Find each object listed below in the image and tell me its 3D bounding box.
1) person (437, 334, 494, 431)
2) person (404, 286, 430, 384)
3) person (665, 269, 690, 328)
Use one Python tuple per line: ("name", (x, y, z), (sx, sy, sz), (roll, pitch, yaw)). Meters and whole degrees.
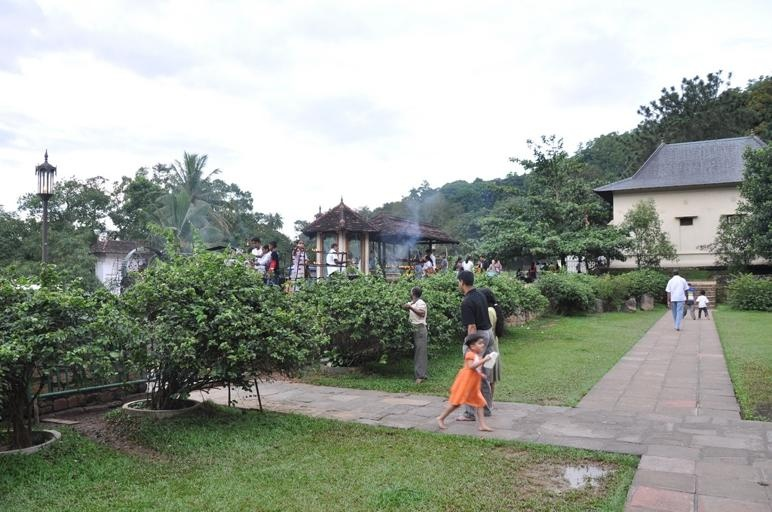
("person", (1.264, 1.947, 9.287), (0.863, 1.444, 0.558), (1, 9, 10))
("person", (0.660, 1.541, 11.863), (0.448, 1.908, 0.687), (-3, 9, -13))
("person", (8.804, 1.282, 17.791), (0.742, 1.696, 0.680), (-1, -3, 20))
